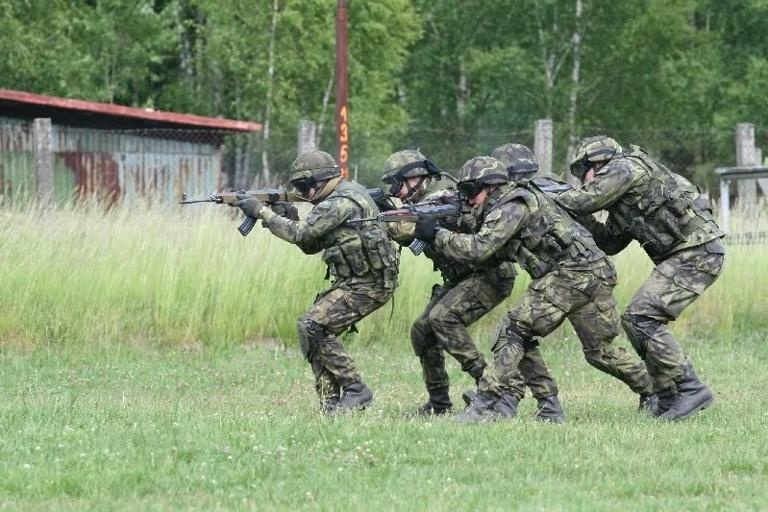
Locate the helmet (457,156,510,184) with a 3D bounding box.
[{"bbox_3d":[1.645,-1.402,24.693,0.625,0.425,0.478,-1,5,-2],"label":"helmet"}]

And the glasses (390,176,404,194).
[{"bbox_3d":[0.205,-1.213,25.307,0.186,0.299,0.217,20,15,-1],"label":"glasses"}]

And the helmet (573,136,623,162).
[{"bbox_3d":[3.541,-1.773,24.832,0.609,0.236,0.463,-6,4,38],"label":"helmet"}]

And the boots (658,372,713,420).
[{"bbox_3d":[4.928,2.296,24.685,1.062,0.770,0.386,-22,7,-27],"label":"boots"}]

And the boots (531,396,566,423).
[{"bbox_3d":[2.753,2.537,24.787,0.458,0.491,0.324,-1,-4,6],"label":"boots"}]

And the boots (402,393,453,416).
[{"bbox_3d":[0.734,2.503,25.224,0.865,0.398,0.305,1,-11,1],"label":"boots"}]
